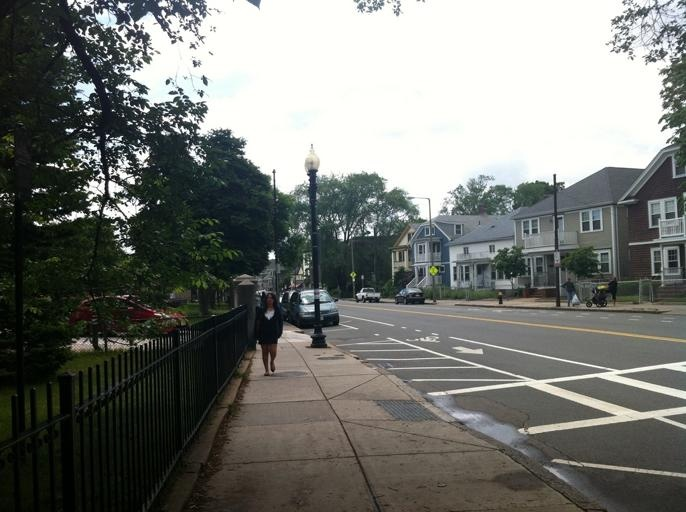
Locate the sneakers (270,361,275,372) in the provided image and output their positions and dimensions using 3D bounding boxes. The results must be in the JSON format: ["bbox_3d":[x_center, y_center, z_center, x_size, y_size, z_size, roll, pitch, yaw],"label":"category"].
[{"bbox_3d":[-1.506,2.379,13.367,0.085,0.200,0.233,-2,-5,-7],"label":"sneakers"}]

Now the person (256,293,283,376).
[{"bbox_3d":[-1.633,1.664,13.589,0.570,1.750,1.277,-1,-4,-8],"label":"person"}]

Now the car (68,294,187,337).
[{"bbox_3d":[-5.422,1.464,15.363,2.597,0.988,1.307,-1,-3,-7],"label":"car"}]

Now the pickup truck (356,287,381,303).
[{"bbox_3d":[2.221,3.771,60.137,1.022,0.985,2.332,0,1,-15],"label":"pickup truck"}]

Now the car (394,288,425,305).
[{"bbox_3d":[5.352,3.237,50.714,1.024,0.845,2.490,-1,0,-13],"label":"car"}]
